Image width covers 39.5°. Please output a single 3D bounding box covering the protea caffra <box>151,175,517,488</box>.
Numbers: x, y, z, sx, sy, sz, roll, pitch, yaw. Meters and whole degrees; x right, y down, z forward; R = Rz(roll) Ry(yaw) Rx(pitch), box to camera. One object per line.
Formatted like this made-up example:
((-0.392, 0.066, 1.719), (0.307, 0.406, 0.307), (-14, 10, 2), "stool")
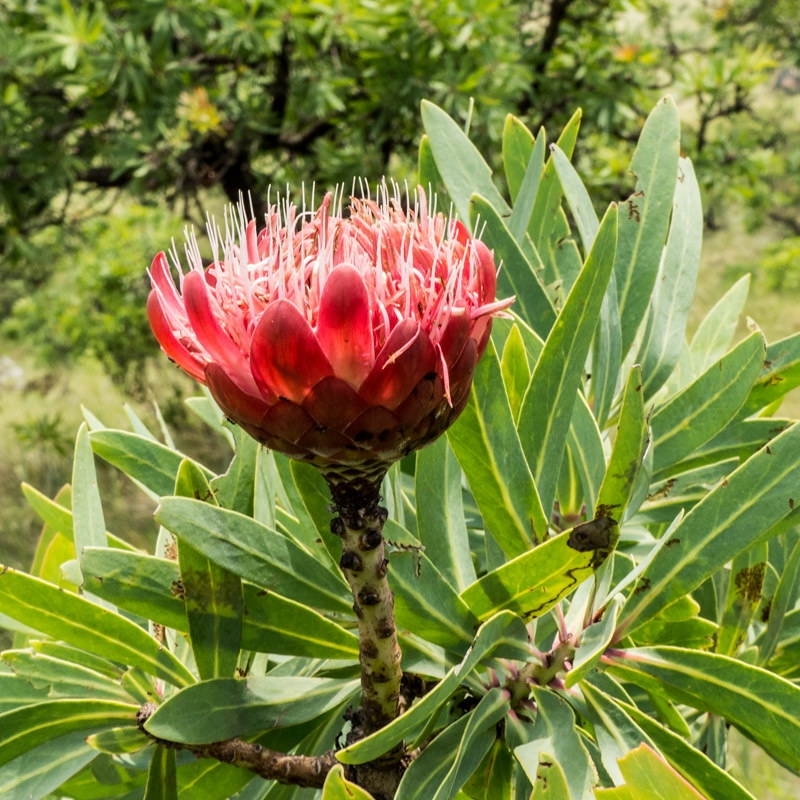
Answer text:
((-0.050, -0.031, 1.014), (0.282, 0.231, 0.290), (-5, 9, -25), "protea caffra")
